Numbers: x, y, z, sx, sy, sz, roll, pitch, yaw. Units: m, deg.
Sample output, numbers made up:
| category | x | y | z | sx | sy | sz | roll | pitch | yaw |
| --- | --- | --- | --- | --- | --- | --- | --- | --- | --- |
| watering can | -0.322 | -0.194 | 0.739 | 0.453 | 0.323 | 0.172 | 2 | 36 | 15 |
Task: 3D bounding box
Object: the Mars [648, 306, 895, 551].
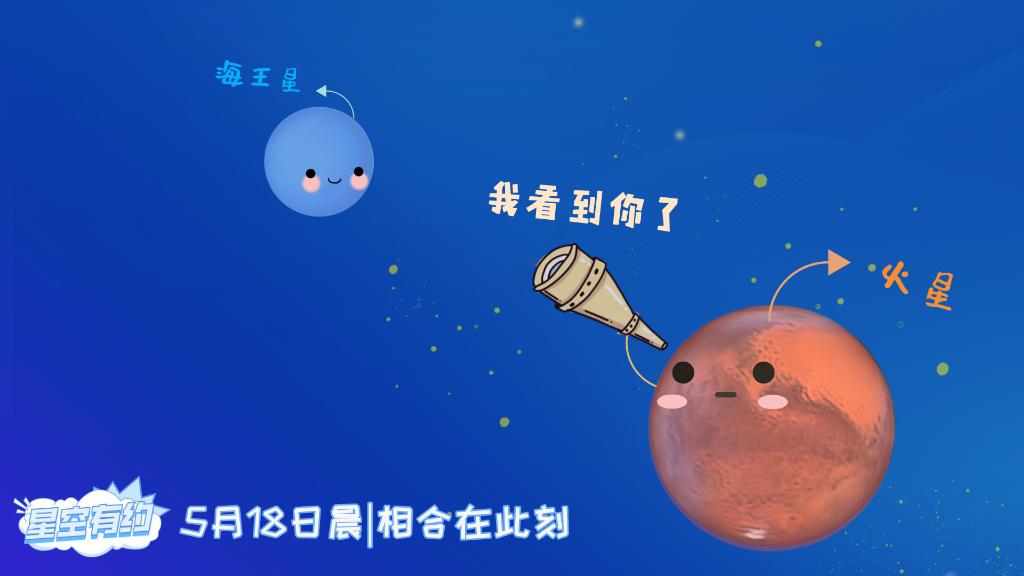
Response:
| category | x | y | z | sx | sy | sz | roll | pitch | yaw |
| --- | --- | --- | --- | --- | --- | --- | --- | --- | --- |
| Mars | 1.551 | 1.192 | 5.439 | 1.086 | 1.167 | 1.160 | -28 | 31 | 34 |
